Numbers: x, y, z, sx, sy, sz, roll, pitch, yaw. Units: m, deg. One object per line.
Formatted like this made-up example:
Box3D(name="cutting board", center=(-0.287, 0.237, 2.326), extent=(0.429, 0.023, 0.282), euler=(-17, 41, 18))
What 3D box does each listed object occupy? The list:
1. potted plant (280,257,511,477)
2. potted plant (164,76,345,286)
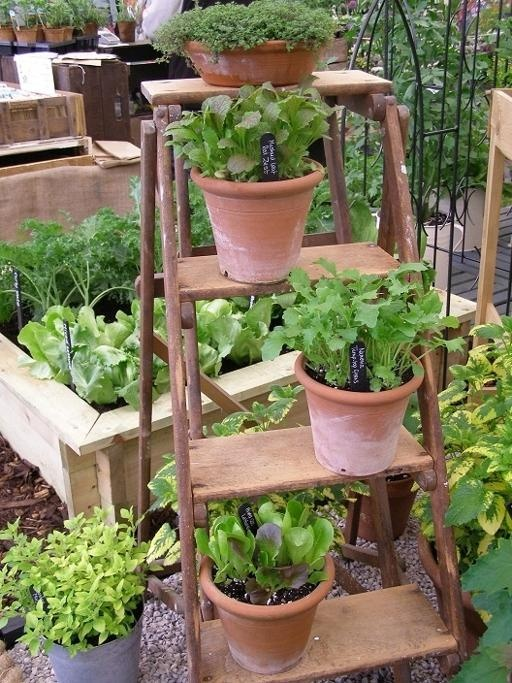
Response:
Box3D(name="potted plant", center=(0.191, 0.016, 0.924), extent=(0.353, 0.340, 0.279), euler=(11, 22, 32))
Box3D(name="potted plant", center=(0.008, -0.288, 0.947), extent=(0.309, 0.356, 0.336), euler=(-6, 28, -8))
